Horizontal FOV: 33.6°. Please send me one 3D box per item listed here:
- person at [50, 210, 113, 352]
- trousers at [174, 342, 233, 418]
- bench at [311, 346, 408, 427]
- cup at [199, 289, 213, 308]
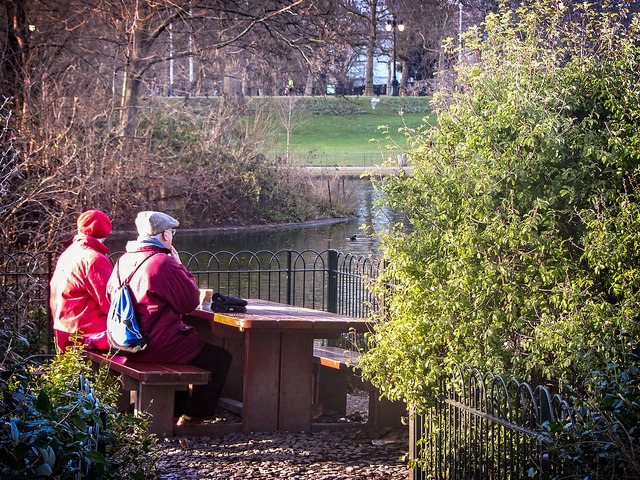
[{"bbox_3d":[-2.619,0.511,11.670,0.606,1.639,0.645,3,8,-9],"label":"person"},{"bbox_3d":[-1.259,1.576,11.757,0.345,0.671,1.442,4,3,-33],"label":"trousers"},{"bbox_3d":[0.323,1.721,12.384,0.912,0.864,1.278,2,-2,-40],"label":"bench"},{"bbox_3d":[-1.343,0.688,12.462,0.162,0.198,0.173,1,7,0],"label":"cup"}]
